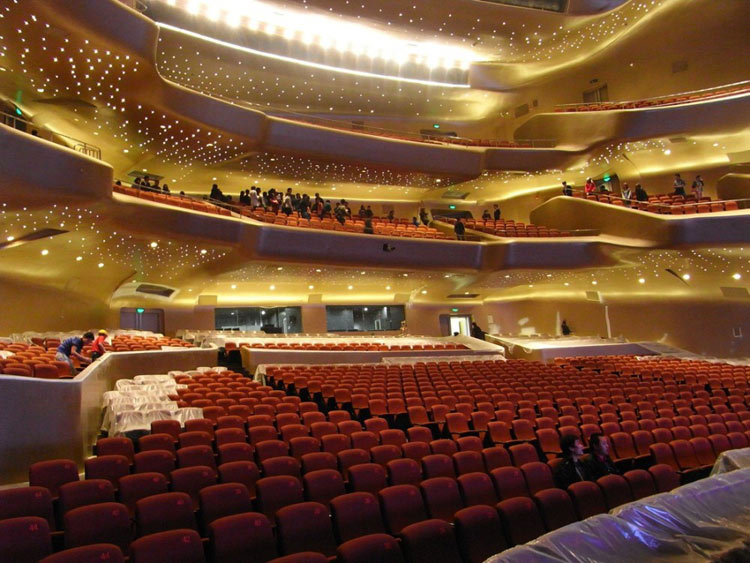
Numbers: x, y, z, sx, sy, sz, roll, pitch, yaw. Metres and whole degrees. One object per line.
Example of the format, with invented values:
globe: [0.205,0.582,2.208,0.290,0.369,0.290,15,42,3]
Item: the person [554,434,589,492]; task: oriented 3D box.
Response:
person: [2.098,1.921,5.091,0.314,0.521,0.719,-5,-9,21]
